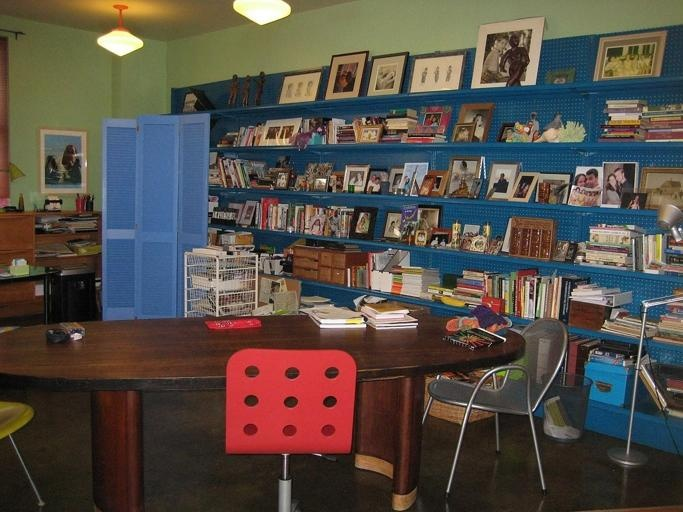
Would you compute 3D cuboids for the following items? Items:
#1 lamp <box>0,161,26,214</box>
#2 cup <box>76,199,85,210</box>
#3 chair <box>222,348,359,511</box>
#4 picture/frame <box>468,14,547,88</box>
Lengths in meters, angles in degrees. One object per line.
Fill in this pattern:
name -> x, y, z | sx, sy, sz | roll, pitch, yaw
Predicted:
lamp -> -4.488, -0.945, 7.327 | 0.299, 0.651, 0.442 | -2, 10, -25
cup -> -3.823, -0.749, 7.889 | 0.110, 0.202, 0.103 | 2, 10, 0
chair -> -0.209, 0.677, 2.224 | 0.612, 0.745, 0.540 | 2, 7, -2
picture/frame -> 1.400, -1.714, 4.582 | 0.561, 0.591, 0.392 | 6, 10, 20
